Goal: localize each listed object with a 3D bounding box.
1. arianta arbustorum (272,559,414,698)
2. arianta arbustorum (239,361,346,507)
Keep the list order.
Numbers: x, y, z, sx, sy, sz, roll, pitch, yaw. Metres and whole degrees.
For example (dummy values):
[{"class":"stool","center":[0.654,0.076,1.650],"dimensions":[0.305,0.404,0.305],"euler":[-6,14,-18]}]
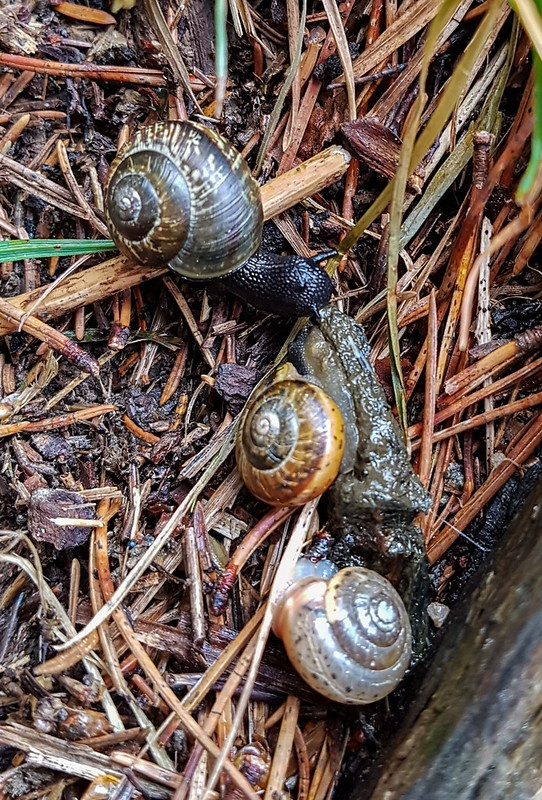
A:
[{"class":"arianta arbustorum","center":[0.167,0.520,1.511],"dimensions":[0.262,0.157,0.270],"euler":[-19,78,-2]},{"class":"arianta arbustorum","center":[0.021,0.069,1.667],"dimensions":[0.305,0.135,0.359],"euler":[-13,48,18]}]
